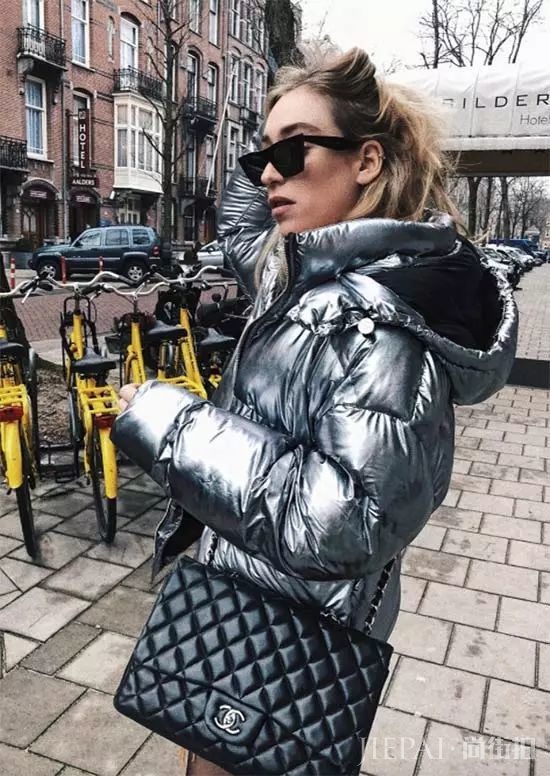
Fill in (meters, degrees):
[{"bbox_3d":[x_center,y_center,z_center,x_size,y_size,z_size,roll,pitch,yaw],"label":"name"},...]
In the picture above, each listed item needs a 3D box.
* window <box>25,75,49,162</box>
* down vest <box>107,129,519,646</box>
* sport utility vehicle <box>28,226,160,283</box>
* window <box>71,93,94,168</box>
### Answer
[{"bbox_3d":[-9.644,-10.865,26.356,0.309,2.929,1.008,7,14,26],"label":"window"},{"bbox_3d":[0.085,0.100,1.166,0.572,0.806,0.661,11,16,38],"label":"down vest"},{"bbox_3d":[-5.899,-4.570,22.119,4.552,1.861,1.930,0,16,-2],"label":"sport utility vehicle"},{"bbox_3d":[-8.396,-11.085,28.254,0.745,3.259,0.957,0,13,-7],"label":"window"}]
